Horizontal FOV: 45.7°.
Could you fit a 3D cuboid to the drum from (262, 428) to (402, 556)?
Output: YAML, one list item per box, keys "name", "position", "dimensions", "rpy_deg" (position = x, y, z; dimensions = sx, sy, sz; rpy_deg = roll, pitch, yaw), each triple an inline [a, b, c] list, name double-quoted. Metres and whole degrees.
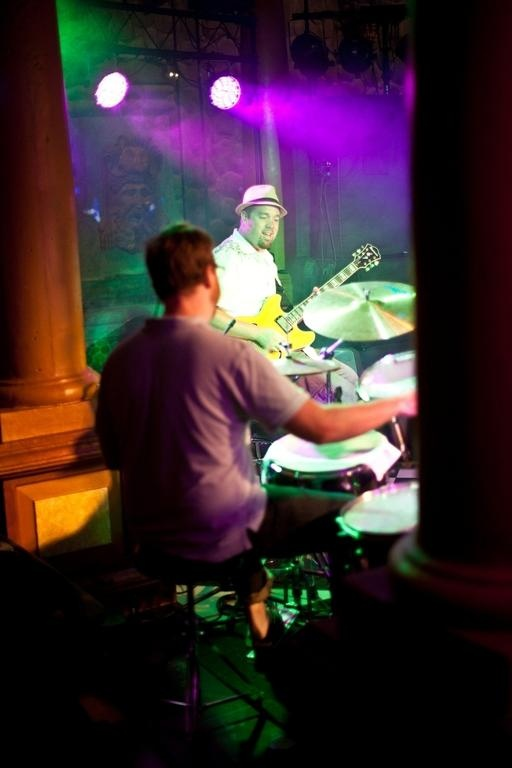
- name: "drum"
  position: [0.239, 0.350, 2.188]
  dimensions: [0.401, 0.390, 0.381]
  rpy_deg: [-2, 11, -26]

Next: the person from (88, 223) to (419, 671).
- name: "person"
  position: [-0.101, 0.215, 1.815]
  dimensions: [0.826, 1.355, 0.416]
  rpy_deg: [-3, 7, -1]

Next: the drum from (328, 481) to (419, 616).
- name: "drum"
  position: [0.333, 0.450, 1.723]
  dimensions: [0.255, 0.257, 0.450]
  rpy_deg: [-2, 8, 8]

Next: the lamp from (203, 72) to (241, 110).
- name: "lamp"
  position: [-0.302, -3.135, 6.627]
  dimensions: [0.397, 0.295, 0.211]
  rpy_deg: [-8, 9, -32]

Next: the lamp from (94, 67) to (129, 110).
- name: "lamp"
  position: [-1.410, -2.807, 5.880]
  dimensions: [0.293, 0.306, 0.245]
  rpy_deg: [-4, 8, -9]

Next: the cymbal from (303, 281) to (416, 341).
- name: "cymbal"
  position: [0.475, -0.321, 2.880]
  dimensions: [0.404, 0.102, 0.414]
  rpy_deg: [27, 55, 26]

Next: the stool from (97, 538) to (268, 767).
- name: "stool"
  position: [-0.269, 1.013, 2.247]
  dimensions: [0.490, 0.485, 0.559]
  rpy_deg: [10, -33, 6]
